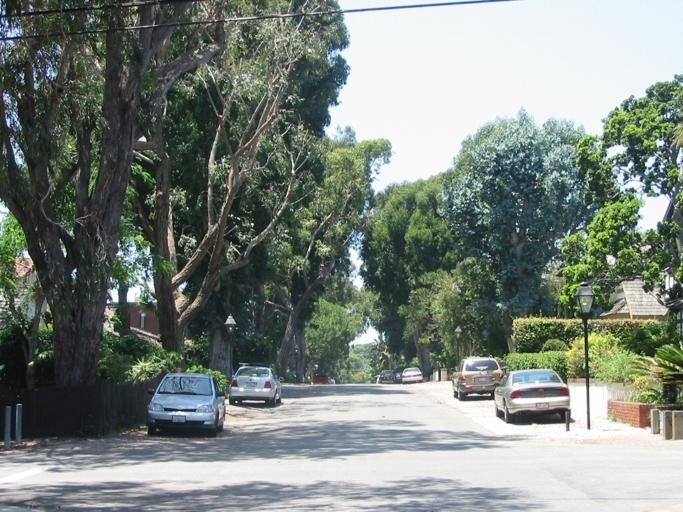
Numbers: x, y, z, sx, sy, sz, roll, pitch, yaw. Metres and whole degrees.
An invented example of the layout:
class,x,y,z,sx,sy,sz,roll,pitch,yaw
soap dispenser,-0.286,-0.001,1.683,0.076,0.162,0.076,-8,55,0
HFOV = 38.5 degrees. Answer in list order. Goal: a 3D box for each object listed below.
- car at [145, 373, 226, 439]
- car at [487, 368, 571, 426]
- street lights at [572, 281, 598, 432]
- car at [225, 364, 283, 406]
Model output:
class,x,y,z,sx,sy,sz,roll,pitch,yaw
car,-4.950,4.649,30.976,2.337,2.038,1.959,4,-11,-14
car,6.621,4.744,33.426,1.756,1.838,3.652,9,-14,-36
street lights,8.372,3.502,33.258,0.696,4.939,0.678,-1,-4,24
car,-4.049,5.888,44.765,2.227,1.880,2.821,3,-12,-6
